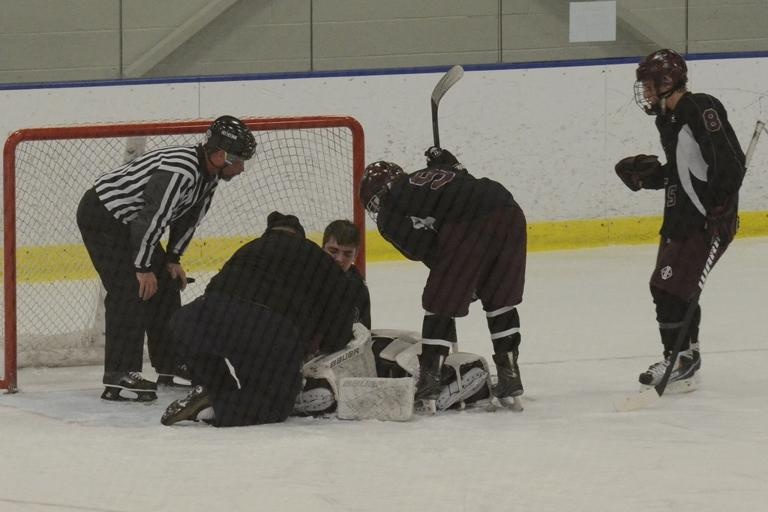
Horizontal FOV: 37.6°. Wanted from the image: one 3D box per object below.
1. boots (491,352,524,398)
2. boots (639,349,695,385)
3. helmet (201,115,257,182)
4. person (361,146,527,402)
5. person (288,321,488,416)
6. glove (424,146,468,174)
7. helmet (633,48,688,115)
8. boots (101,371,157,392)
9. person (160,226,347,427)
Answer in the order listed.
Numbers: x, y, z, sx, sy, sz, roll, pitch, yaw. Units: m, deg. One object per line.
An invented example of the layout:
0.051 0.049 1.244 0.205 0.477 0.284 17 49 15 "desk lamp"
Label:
0.608 0.593 5.580 0.138 0.260 0.148 1 6 -5 "boots"
1.439 0.585 5.817 0.449 0.187 0.136 -2 6 -41 "boots"
-0.793 -0.553 5.781 0.266 0.328 0.164 1 6 -13 "helmet"
0.334 0.058 5.859 0.976 1.324 0.789 -6 -6 20 "person"
0.074 0.528 5.534 0.747 0.225 0.517 0 2 -40 "person"
0.317 -0.529 5.904 0.189 0.076 0.150 22 20 19 "glove"
1.475 -0.936 5.976 0.349 0.304 0.262 -17 6 6 "helmet"
-1.296 0.648 5.840 0.312 0.122 0.100 0 -2 -1 "boots"
-0.708 0.358 5.531 0.858 0.467 1.286 17 32 -4 "person"
